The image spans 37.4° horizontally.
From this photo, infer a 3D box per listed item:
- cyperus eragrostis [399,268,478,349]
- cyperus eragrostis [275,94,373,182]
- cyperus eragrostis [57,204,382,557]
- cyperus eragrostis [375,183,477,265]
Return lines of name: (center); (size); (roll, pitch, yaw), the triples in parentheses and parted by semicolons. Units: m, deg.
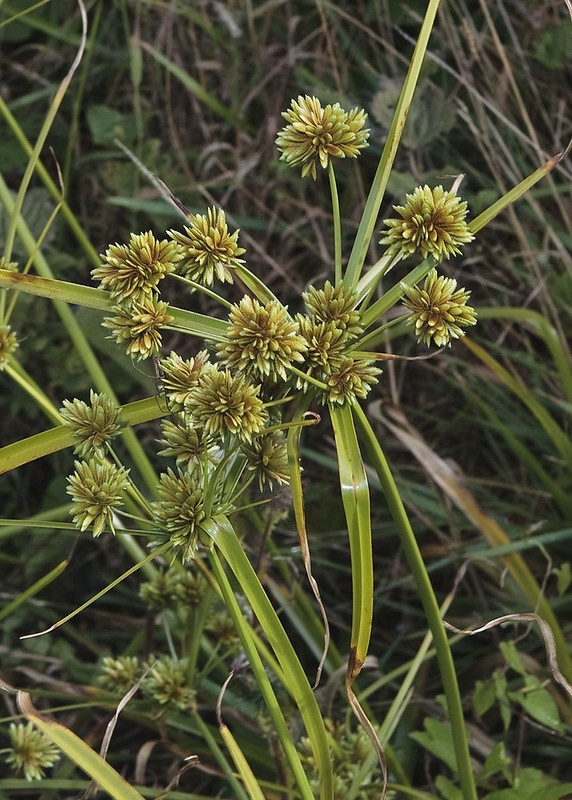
cyperus eragrostis: (0.116, -0.063, 0.651); (0.041, 0.072, 0.073); (20, 101, 19)
cyperus eragrostis: (0.025, -0.220, 0.681); (0.068, 0.035, 0.064); (-14, 33, -18)
cyperus eragrostis: (-0.065, -0.003, 0.684); (0.224, 0.232, 0.236); (-6, 61, -14)
cyperus eragrostis: (0.114, -0.142, 0.691); (0.072, 0.037, 0.067); (5, 72, 6)
